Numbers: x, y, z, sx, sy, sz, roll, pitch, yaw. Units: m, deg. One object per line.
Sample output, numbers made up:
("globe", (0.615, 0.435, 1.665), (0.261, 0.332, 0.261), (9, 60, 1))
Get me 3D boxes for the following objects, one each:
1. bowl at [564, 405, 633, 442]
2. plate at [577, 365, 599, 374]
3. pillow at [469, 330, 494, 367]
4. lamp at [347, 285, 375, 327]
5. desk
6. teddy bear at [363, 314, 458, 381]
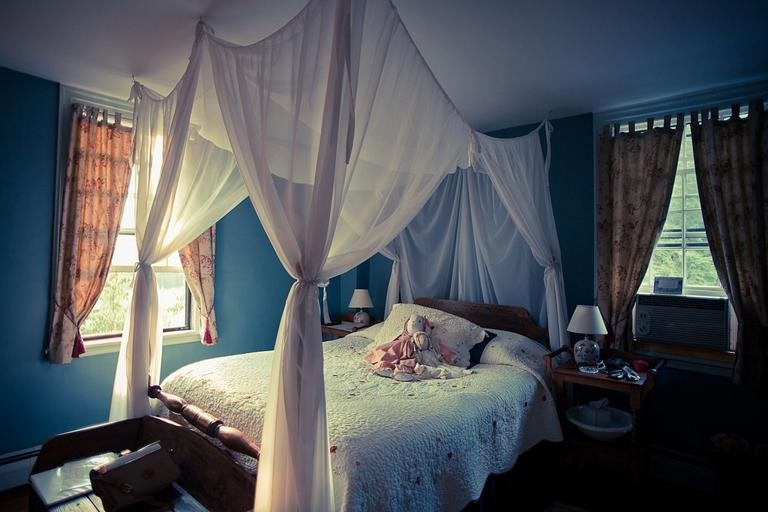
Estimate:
("bowl", (1.838, 1.443, 4.373), (0.533, 0.167, 0.557), (-2, 3, 0))
("plate", (1.736, 0.954, 4.310), (0.169, 0.051, 0.104), (-3, 1, 13))
("pillow", (0.867, 0.831, 4.606), (0.078, 0.280, 0.236), (26, 8, 2))
("lamp", (-0.253, 0.596, 6.067), (0.362, 0.594, 0.362), (-2, 3, -40))
("desk", (1.932, 1.207, 4.456), (0.850, 0.673, 0.554), (3, 9, 43))
("teddy bear", (0.210, 0.851, 4.431), (0.570, 0.302, 0.506), (-1, 10, 2))
